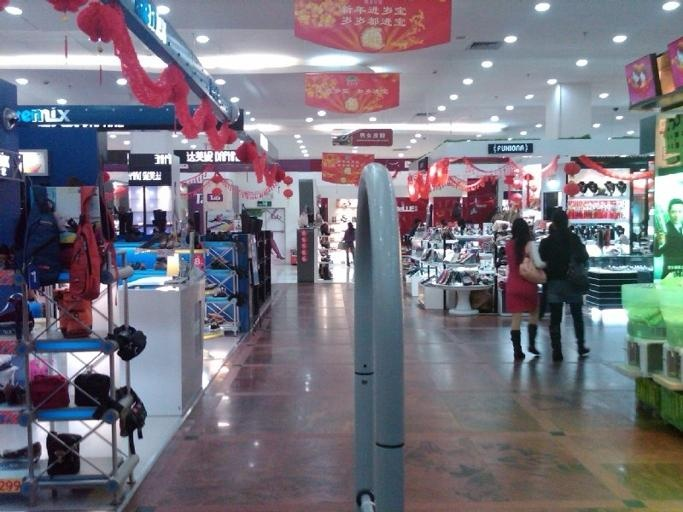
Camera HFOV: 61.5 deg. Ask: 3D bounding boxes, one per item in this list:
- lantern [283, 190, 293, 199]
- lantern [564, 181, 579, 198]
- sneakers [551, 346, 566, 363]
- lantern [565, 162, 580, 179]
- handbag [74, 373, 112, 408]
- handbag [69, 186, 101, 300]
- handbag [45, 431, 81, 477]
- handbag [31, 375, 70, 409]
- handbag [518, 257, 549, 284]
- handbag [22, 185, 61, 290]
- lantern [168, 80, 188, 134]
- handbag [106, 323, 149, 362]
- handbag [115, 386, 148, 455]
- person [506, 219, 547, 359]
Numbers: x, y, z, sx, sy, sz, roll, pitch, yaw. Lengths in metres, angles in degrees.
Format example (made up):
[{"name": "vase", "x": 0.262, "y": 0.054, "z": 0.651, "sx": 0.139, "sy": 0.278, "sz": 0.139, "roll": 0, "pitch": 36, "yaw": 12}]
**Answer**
[{"name": "lantern", "x": -1.788, "y": -2.059, "z": 18.986, "sx": 0.322, "sy": 0.334, "sz": 0.326, "roll": 0, "pitch": 10, "yaw": 7}, {"name": "lantern", "x": 4.850, "y": -1.400, "z": 12.025, "sx": 0.283, "sy": 0.392, "sz": 0.285, "roll": 0, "pitch": -3, "yaw": -5}, {"name": "sneakers", "x": 2.578, "y": 1.174, "z": 6.843, "sx": 0.152, "sy": 0.231, "sz": 0.169, "roll": 5, "pitch": -6, "yaw": -28}, {"name": "lantern", "x": 4.935, "y": -1.839, "z": 12.225, "sx": 0.304, "sy": 0.328, "sz": 0.571, "roll": 3, "pitch": 9, "yaw": 22}, {"name": "handbag", "x": -1.811, "y": 0.985, "z": 4.196, "sx": 0.265, "sy": 0.252, "sz": 0.139, "roll": 0, "pitch": -3, "yaw": 5}, {"name": "handbag", "x": -1.827, "y": -0.095, "z": 4.106, "sx": 0.199, "sy": 0.782, "sz": 0.302, "roll": -2, "pitch": 8, "yaw": -10}, {"name": "handbag", "x": -2.078, "y": 1.422, "z": 4.299, "sx": 0.242, "sy": 0.345, "sz": 0.447, "roll": -5, "pitch": 9, "yaw": -27}, {"name": "handbag", "x": -2.105, "y": 0.983, "z": 4.161, "sx": 0.280, "sy": 0.217, "sz": 0.238, "roll": -3, "pitch": 9, "yaw": -15}, {"name": "handbag", "x": 2.226, "y": 0.171, "z": 6.697, "sx": 0.285, "sy": 0.300, "sz": 0.150, "roll": 3, "pitch": 6, "yaw": 4}, {"name": "handbag", "x": -2.121, "y": -0.143, "z": 4.069, "sx": 0.222, "sy": 0.689, "sz": 0.217, "roll": -1, "pitch": 8, "yaw": -1}, {"name": "lantern", "x": -1.613, "y": -1.469, "z": 5.759, "sx": 0.158, "sy": 0.478, "sz": 0.703, "roll": -3, "pitch": 9, "yaw": -14}, {"name": "handbag", "x": -1.578, "y": 0.634, "z": 4.251, "sx": 0.222, "sy": 0.265, "sz": 0.255, "roll": -41, "pitch": -23, "yaw": -17}, {"name": "handbag", "x": -1.585, "y": 1.262, "z": 4.337, "sx": 0.189, "sy": 0.548, "sz": 0.370, "roll": -2, "pitch": 8, "yaw": -12}, {"name": "person", "x": 2.216, "y": 0.398, "z": 6.935, "sx": 0.449, "sy": 1.692, "sz": 0.509, "roll": 2, "pitch": 8, "yaw": 17}]
